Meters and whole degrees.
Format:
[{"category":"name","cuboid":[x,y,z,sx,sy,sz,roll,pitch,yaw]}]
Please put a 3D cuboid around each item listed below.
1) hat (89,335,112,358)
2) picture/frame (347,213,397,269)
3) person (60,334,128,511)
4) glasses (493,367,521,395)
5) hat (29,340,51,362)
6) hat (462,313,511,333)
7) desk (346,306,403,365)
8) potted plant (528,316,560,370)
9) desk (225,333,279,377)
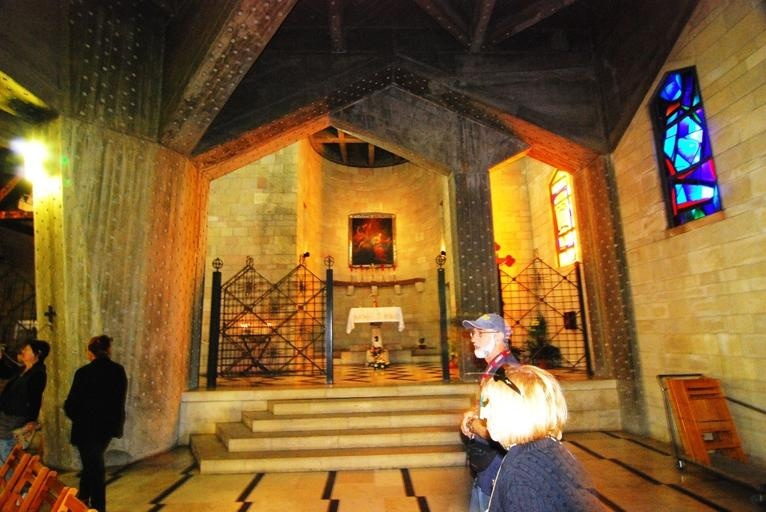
[{"category":"hat","cuboid":[-3.143,1.008,5.978,0.200,0.223,0.262,6,-10,-31]},{"category":"picture/frame","cuboid":[-0.331,-0.398,16.346,1.784,1.969,0.155,0,-22,-3]},{"category":"person","cuboid":[-3.166,1.813,5.883,0.596,1.879,0.254,6,-15,-29]},{"category":"glasses","cuboid":[0.962,0.982,4.210,0.113,0.241,0.034,-37,-35,-22]},{"category":"hat","cuboid":[-3.837,1.088,6.098,0.192,0.230,0.241,20,-24,-6]},{"category":"hat","cuboid":[1.059,0.678,5.427,0.362,0.145,0.229,4,-12,5]},{"category":"desk","cuboid":[-0.125,1.713,11.573,1.194,1.200,0.789,-1,-6,0]},{"category":"potted plant","cuboid":[3.014,1.596,10.066,0.627,1.003,0.778,-14,-17,42]},{"category":"desk","cuboid":[-2.650,1.971,10.988,1.098,0.937,2.486,2,-13,-16]}]
